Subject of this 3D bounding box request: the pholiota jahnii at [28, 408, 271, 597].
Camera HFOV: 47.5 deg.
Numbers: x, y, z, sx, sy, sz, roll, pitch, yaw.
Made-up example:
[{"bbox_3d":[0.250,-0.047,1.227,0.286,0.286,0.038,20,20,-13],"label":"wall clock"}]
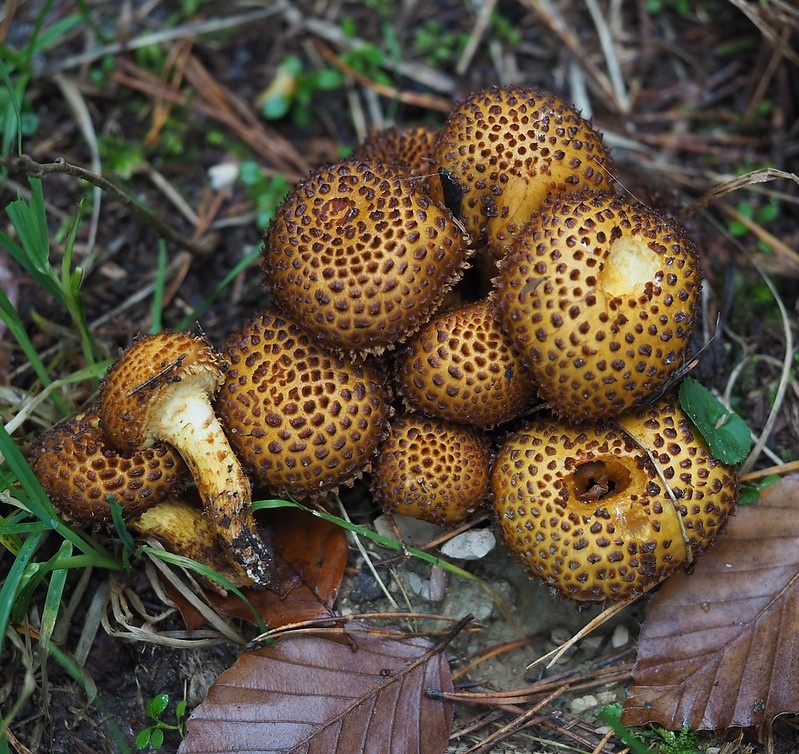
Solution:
[{"bbox_3d":[-0.891,0.525,3.402,0.935,0.290,0.585,39,45,1],"label":"pholiota jahnii"}]
